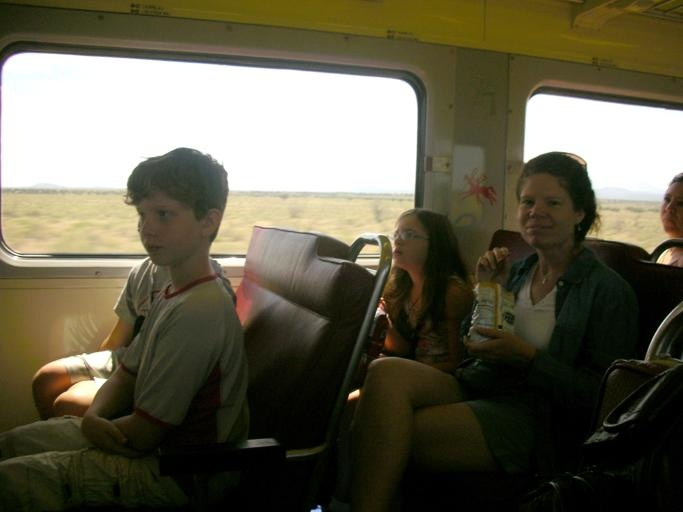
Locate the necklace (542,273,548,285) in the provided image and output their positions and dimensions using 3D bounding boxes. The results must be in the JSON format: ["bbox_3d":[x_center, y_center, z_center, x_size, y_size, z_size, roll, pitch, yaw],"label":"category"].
[{"bbox_3d":[0.871,0.095,2.262,0.021,0.034,0.036,-6,-17,26],"label":"necklace"}]

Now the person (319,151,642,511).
[{"bbox_3d":[0.573,0.247,2.119,1.081,1.355,0.599,2,9,-9],"label":"person"}]
